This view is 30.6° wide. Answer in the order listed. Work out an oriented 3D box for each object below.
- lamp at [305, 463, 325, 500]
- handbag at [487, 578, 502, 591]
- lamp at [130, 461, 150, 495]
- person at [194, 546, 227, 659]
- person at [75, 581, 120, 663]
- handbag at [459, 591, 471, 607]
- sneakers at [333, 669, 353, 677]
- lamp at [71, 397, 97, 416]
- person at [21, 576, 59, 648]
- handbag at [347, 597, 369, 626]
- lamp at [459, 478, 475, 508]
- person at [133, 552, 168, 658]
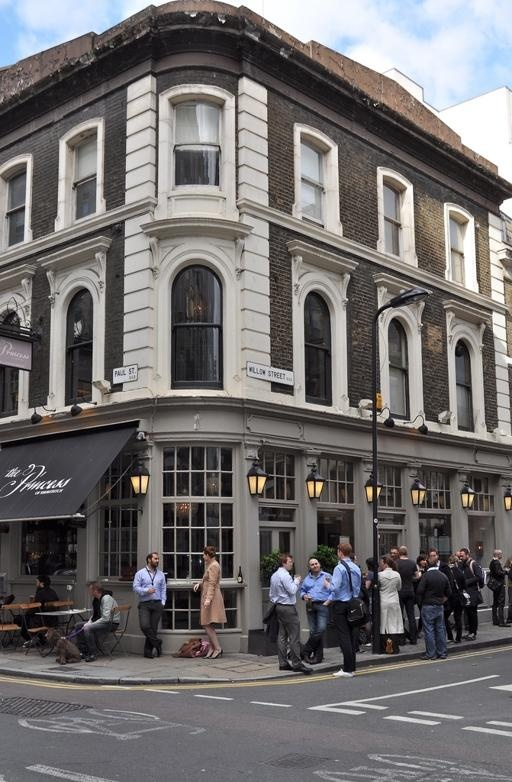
[{"bbox_3d":[1.078,1.714,17.429,0.301,0.671,0.879,-1,-14,3],"label":"lamp"},{"bbox_3d":[5.058,4.081,19.795,0.251,0.253,0.151,-6,26,-10],"label":"handbag"},{"bbox_3d":[-1.938,1.445,15.541,0.320,0.593,0.329,-6,-14,22],"label":"lamp"},{"bbox_3d":[-0.737,3.341,14.727,0.490,1.665,1.012,0,-13,-3],"label":"person"},{"bbox_3d":[-2.480,3.553,14.373,0.626,1.142,0.584,-4,-13,16],"label":"person"},{"bbox_3d":[3.704,3.711,16.624,0.120,0.343,0.335,-15,-20,22],"label":"handbag"},{"bbox_3d":[1.155,3.774,12.536,0.268,0.144,0.097,-4,-11,18],"label":"sneakers"},{"bbox_3d":[-3.208,0.297,17.185,0.416,0.331,0.833,4,-15,-18],"label":"lamp"},{"bbox_3d":[-3.757,3.768,16.152,0.600,1.245,0.494,1,2,25],"label":"person"},{"bbox_3d":[1.324,2.938,12.425,0.229,0.344,0.294,-2,-13,5],"label":"handbag"},{"bbox_3d":[5.061,2.480,22.323,0.305,0.738,1.044,-5,-14,20],"label":"lamp"},{"bbox_3d":[-1.679,3.360,14.619,0.405,1.562,0.487,-5,-13,19],"label":"person"}]
